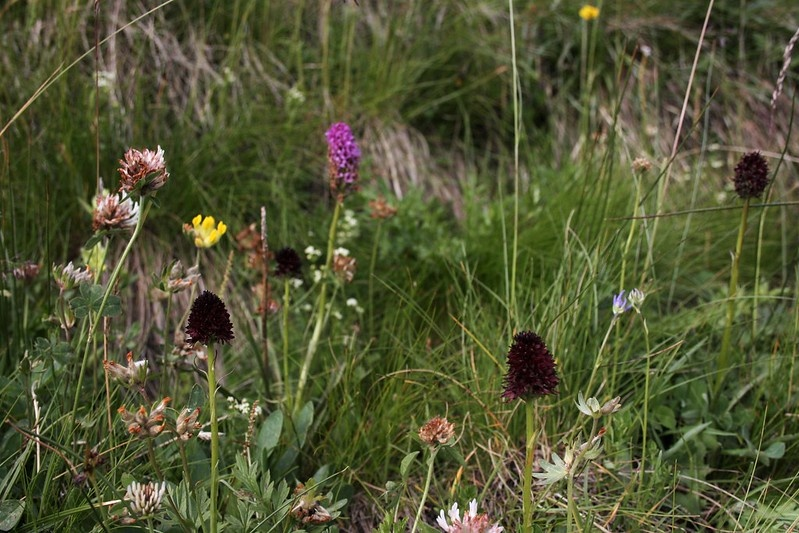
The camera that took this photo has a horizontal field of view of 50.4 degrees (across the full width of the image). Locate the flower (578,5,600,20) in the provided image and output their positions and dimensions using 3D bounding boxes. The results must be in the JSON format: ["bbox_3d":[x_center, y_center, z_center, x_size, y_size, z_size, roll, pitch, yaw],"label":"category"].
[{"bbox_3d":[0.962,-1.281,4.302,0.091,0.079,0.092,2,-5,-42],"label":"flower"}]
